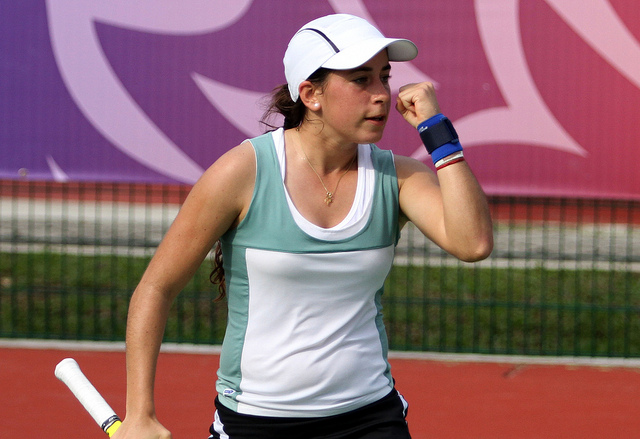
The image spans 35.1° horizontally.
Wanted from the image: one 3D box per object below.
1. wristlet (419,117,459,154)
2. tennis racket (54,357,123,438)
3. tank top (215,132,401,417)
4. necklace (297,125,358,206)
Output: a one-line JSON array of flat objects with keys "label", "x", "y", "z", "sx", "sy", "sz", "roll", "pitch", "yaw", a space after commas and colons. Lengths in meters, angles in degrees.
[{"label": "wristlet", "x": 0.866, "y": -0.605, "z": 7.348, "sx": 0.258, "sy": 0.236, "sz": 0.108, "roll": -28, "pitch": -8, "yaw": 1}, {"label": "tennis racket", "x": -2.002, "y": 1.558, "z": 8.688, "sx": 0.214, "sy": 1.064, "sz": 0.205, "roll": -34, "pitch": -30, "yaw": -1}, {"label": "tank top", "x": -0.089, "y": 0.424, "z": 7.300, "sx": 1.285, "sy": 2.017, "sz": 0.314, "roll": 4, "pitch": -2, "yaw": 3}, {"label": "necklace", "x": 0.039, "y": -0.377, "z": 7.319, "sx": 0.397, "sy": 0.650, "sz": 0.046, "roll": 5, "pitch": -8, "yaw": -19}]
